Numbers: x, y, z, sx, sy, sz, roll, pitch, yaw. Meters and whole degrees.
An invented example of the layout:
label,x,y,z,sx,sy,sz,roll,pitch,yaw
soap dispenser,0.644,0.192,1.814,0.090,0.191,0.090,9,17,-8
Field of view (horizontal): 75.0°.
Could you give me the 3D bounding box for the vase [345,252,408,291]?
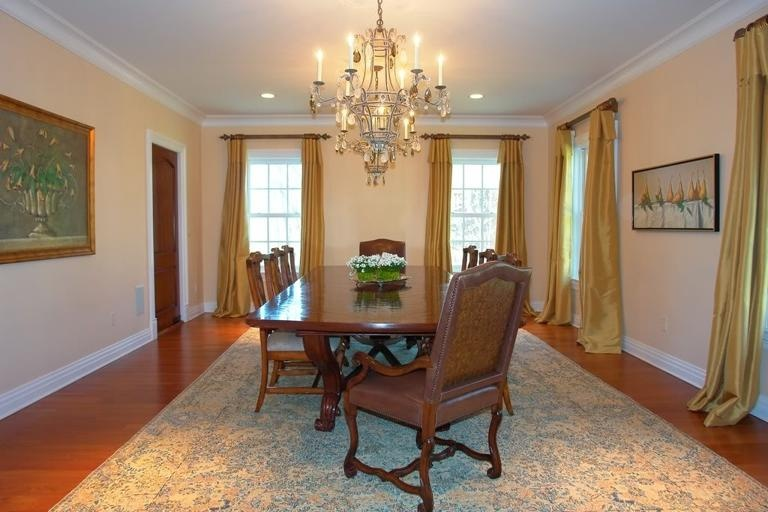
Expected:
label,x,y,z,sx,sy,sz,roll,pitch,yaw
vase,-0.054,0.117,5.191,0.550,0.268,0.601,0,8,8
